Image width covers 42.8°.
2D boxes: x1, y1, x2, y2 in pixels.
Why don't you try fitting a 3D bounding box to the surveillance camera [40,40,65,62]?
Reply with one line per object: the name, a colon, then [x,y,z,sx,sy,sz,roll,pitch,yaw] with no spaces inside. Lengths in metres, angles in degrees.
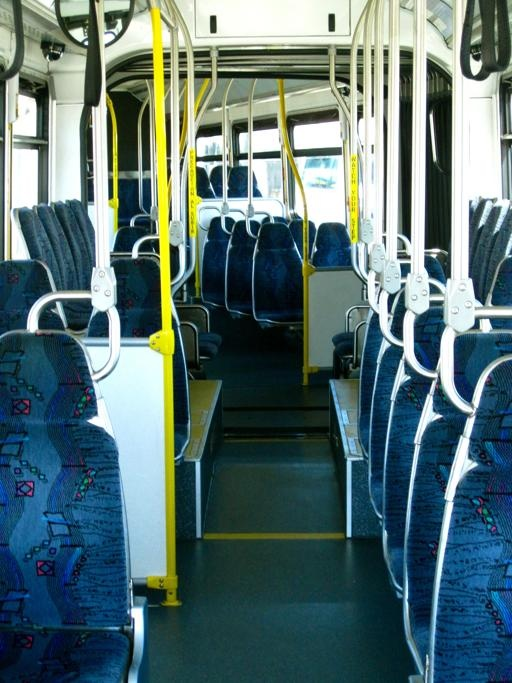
surveillance camera: [-1.438,-2.065,4.647,0.158,0.121,0.253,-2,8,-9]
